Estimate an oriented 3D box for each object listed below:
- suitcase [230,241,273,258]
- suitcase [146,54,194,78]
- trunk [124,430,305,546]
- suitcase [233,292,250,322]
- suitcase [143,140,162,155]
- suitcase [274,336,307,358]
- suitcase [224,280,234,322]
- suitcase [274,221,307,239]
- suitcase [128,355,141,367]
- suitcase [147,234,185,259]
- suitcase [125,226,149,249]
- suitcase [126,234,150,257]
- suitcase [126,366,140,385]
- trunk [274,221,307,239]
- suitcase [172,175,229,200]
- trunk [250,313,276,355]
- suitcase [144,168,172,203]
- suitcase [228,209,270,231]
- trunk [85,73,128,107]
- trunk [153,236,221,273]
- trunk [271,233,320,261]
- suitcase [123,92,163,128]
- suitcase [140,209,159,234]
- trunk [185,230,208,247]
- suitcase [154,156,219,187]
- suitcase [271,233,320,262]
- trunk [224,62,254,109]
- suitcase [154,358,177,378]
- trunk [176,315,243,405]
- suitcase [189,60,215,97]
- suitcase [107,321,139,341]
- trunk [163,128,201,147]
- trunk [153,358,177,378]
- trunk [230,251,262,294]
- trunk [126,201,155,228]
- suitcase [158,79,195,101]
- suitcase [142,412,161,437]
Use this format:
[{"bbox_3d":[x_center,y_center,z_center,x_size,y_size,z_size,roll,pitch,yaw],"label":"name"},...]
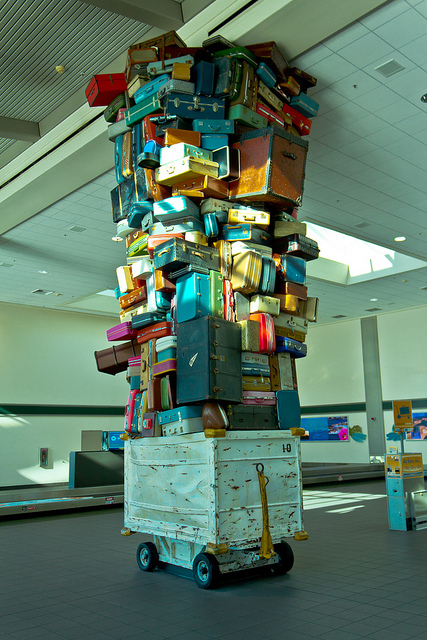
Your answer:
[{"bbox_3d":[0.314,-0.591,4.076,0.211,0.054,0.205,6,-5,-35],"label":"suitcase"},{"bbox_3d":[-0.487,-2.508,4.692,0.299,0.078,0.296,-3,7,8],"label":"suitcase"},{"bbox_3d":[-0.092,1.343,3.931,0.814,0.788,1.277,5,-16,-37],"label":"trunk"},{"bbox_3d":[0.231,-0.125,3.925,0.050,0.205,0.217,-6,-3,25],"label":"suitcase"},{"bbox_3d":[-0.573,-1.595,4.352,0.140,0.173,0.062,8,-13,12],"label":"suitcase"},{"bbox_3d":[0.668,0.220,4.148,0.206,0.083,0.261,-1,-11,41],"label":"suitcase"},{"bbox_3d":[0.118,-0.166,3.867,0.073,0.252,0.200,1,-1,-8],"label":"suitcase"},{"bbox_3d":[0.700,-0.828,4.405,0.283,0.142,0.186,5,5,5],"label":"suitcase"},{"bbox_3d":[-0.766,0.396,4.562,0.101,0.063,0.140,0,-8,-39],"label":"suitcase"},{"bbox_3d":[-0.377,-0.602,3.804,0.320,0.109,0.254,-2,0,0],"label":"suitcase"},{"bbox_3d":[-0.800,-0.853,4.840,0.187,0.048,0.183,-40,5,-11],"label":"suitcase"},{"bbox_3d":[-0.730,-0.738,4.633,0.204,0.082,0.266,-9,-3,27],"label":"suitcase"},{"bbox_3d":[-0.781,0.498,4.552,0.165,0.151,0.219,0,-3,-11],"label":"suitcase"},{"bbox_3d":[0.710,-0.855,4.429,0.282,0.142,0.185,5,4,4],"label":"trunk"},{"bbox_3d":[-0.048,-1.156,4.101,0.270,0.076,0.264,0,2,-41],"label":"suitcase"},{"bbox_3d":[0.376,0.119,3.928,0.234,0.342,0.212,-7,-10,30],"label":"trunk"},{"bbox_3d":[-0.491,-1.212,4.209,0.217,0.380,0.241,-2,-33,-23],"label":"suitcase"},{"bbox_3d":[0.284,-0.875,4.105,0.246,0.082,0.188,1,-4,-4],"label":"suitcase"},{"bbox_3d":[-1.221,-2.575,5.377,0.541,0.377,0.254,5,-14,4],"label":"trunk"},{"bbox_3d":[-0.283,-0.511,3.725,0.389,0.165,0.294,1,-1,-43],"label":"trunk"},{"bbox_3d":[0.748,-0.635,4.505,0.324,0.148,0.252,15,-17,-39],"label":"trunk"},{"bbox_3d":[-0.691,-2.104,4.706,0.299,0.087,0.296,-32,12,-14],"label":"suitcase"},{"bbox_3d":[-0.616,-0.920,4.419,0.191,0.255,0.178,11,4,-1],"label":"suitcase"},{"bbox_3d":[-0.126,-0.697,4.065,0.236,0.129,0.155,3,3,-43],"label":"trunk"},{"bbox_3d":[-0.193,-1.255,3.971,0.286,0.081,0.278,-2,-1,-35],"label":"suitcase"},{"bbox_3d":[0.752,-0.680,4.522,0.325,0.149,0.251,9,-7,-36],"label":"suitcase"},{"bbox_3d":[0.224,-2.211,4.466,0.197,0.507,0.521,2,2,-5],"label":"trunk"},{"bbox_3d":[-0.390,0.385,3.859,0.082,0.153,0.340,4,-9,-37],"label":"suitcase"},{"bbox_3d":[-0.022,0.297,3.551,0.516,0.639,0.371,-1,-8,-5],"label":"trunk"},{"bbox_3d":[-0.111,-2.239,4.412,0.145,0.426,0.389,1,-5,-15],"label":"suitcase"},{"bbox_3d":[-0.930,0.117,4.837,0.262,0.087,0.255,6,-14,-40],"label":"suitcase"},{"bbox_3d":[-0.278,-1.586,4.082,0.266,0.121,0.190,0,5,-23],"label":"trunk"},{"bbox_3d":[-0.400,0.382,3.839,0.168,0.107,0.242,10,-14,-37],"label":"trunk"},{"bbox_3d":[0.260,-0.424,3.974,0.268,0.329,0.214,8,9,38],"label":"trunk"},{"bbox_3d":[-0.698,-1.027,4.485,0.208,0.090,0.259,-13,-6,-9],"label":"trunk"},{"bbox_3d":[-0.382,-2.136,4.378,0.361,0.134,0.178,-5,-8,22],"label":"suitcase"},{"bbox_3d":[-0.517,0.867,3.940,0.122,0.202,0.215,2,-8,-21],"label":"suitcase"}]
